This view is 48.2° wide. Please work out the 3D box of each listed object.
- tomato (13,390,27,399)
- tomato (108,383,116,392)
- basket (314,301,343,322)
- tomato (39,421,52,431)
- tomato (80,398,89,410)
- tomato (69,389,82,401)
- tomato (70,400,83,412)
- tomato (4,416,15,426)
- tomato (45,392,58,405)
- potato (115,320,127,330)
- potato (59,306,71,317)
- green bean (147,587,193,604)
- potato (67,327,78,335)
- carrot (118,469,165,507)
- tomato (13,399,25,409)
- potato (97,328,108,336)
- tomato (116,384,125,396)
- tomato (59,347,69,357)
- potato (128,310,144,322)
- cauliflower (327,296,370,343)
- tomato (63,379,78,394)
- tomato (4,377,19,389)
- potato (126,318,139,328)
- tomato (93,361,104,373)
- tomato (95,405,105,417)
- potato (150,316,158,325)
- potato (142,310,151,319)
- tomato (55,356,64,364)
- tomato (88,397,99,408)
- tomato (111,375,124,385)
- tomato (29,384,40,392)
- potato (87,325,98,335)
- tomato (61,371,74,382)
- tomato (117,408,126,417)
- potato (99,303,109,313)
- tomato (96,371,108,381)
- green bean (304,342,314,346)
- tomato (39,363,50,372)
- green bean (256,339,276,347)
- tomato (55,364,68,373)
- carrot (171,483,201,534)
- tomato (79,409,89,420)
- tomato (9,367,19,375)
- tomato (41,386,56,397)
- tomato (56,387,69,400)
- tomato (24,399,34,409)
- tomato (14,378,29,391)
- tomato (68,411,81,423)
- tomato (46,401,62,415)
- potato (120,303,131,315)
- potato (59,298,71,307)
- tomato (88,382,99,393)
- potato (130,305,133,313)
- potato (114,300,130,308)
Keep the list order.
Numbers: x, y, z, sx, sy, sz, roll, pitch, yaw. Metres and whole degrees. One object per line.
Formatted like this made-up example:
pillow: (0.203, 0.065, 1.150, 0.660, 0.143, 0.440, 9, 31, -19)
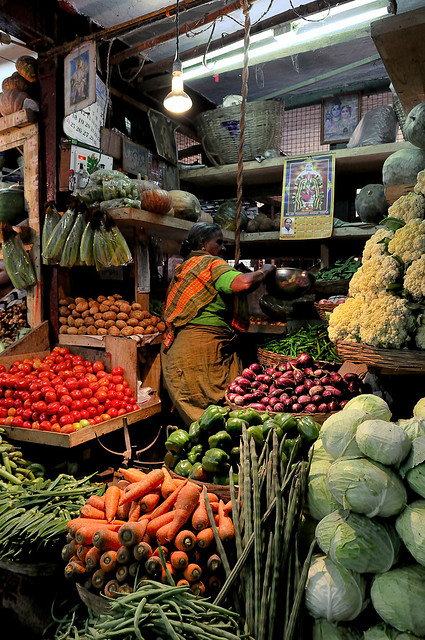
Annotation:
tomato: (-1.432, 0.548, 3.527, 0.069, 0.075, 0.065, 14, 2, 35)
tomato: (-0.790, 0.531, 3.754, 0.049, 0.044, 0.047, -4, -6, 3)
basket: (0.915, -0.089, 3.913, 0.230, 0.141, 0.232, 2, 2, 14)
tomato: (-1.136, 0.724, 3.249, 0.058, 0.057, 0.061, -1, -4, 1)
tomato: (-0.920, 0.616, 3.459, 0.064, 0.073, 0.062, -1, -2, -3)
tomato: (-1.000, 0.552, 3.499, 0.067, 0.078, 0.070, 8, -8, -31)
tomato: (-0.967, 0.612, 3.404, 0.068, 0.079, 0.067, 0, -12, 18)
tomato: (-1.440, 0.718, 3.376, 0.043, 0.043, 0.057, 3, -18, -9)
tomato: (-1.139, 0.552, 3.385, 0.075, 0.089, 0.074, 2, -41, -8)
potato: (-0.771, 0.038, 4.010, 0.082, 0.044, 0.071, 0, -1, -3)
potato: (-1.354, -0.076, 4.354, 0.094, 0.071, 0.054, 33, -35, 8)
green bean: (-0.109, 0.700, 1.205, 0.087, 0.013, 0.020, -15, 11, -27)
potato: (-1.227, 0.093, 4.222, 0.070, 0.038, 0.065, 3, 6, -37)
carrot: (-0.221, 0.547, 1.636, 0.062, 0.056, 0.217, 26, 38, 28)
tomato: (-1.413, 0.611, 3.479, 0.061, 0.061, 0.065, 15, -17, -36)
potato: (-0.932, 0.101, 4.029, 0.065, 0.038, 0.066, 10, -2, -38)
tomato: (-0.729, 0.543, 3.771, 0.062, 0.058, 0.058, -3, -5, 41)
tomato: (-1.298, 0.278, 4.164, 0.059, 0.056, 0.060, -4, -11, 39)
potato: (-0.635, -0.030, 4.072, 0.077, 0.056, 0.101, 6, 6, -28)
cauliflower: (0.560, 0.001, 1.971, 0.139, 0.160, 0.107, 3, 9, 42)
tomato: (-1.063, 0.494, 3.560, 0.084, 0.097, 0.082, 5, -6, -13)
tomato: (-1.517, 0.471, 3.587, 0.078, 0.047, 0.082, 8, 11, 15)
potato: (-0.677, 0.023, 4.029, 0.080, 0.060, 0.062, -1, 3, 40)
tomato: (-0.941, 0.389, 3.925, 0.081, 0.096, 0.081, -3, 17, 20)
tomato: (-0.830, 0.668, 3.519, 0.061, 0.072, 0.060, 7, -10, -40)
potato: (-0.508, 0.000, 4.158, 0.021, 0.056, 0.059, -12, -15, 26)
potato: (-0.571, -0.046, 4.159, 0.032, 0.057, 0.059, -24, -5, 37)
tomato: (-1.292, 0.335, 4.011, 0.059, 0.055, 0.057, 1, -9, -19)
tomato: (-0.875, 0.607, 3.511, 0.058, 0.067, 0.057, -4, -1, -2)
tomato: (-0.762, 0.477, 3.841, 0.072, 0.079, 0.067, 15, 11, -2)
tomato: (-1.301, 0.498, 3.480, 0.054, 0.032, 0.055, 0, 8, -20)
potato: (-1.027, 0.095, 4.081, 0.062, 0.080, 0.065, 1, 13, 2)
tomato: (-1.123, 0.432, 3.698, 0.069, 0.062, 0.068, -11, -15, 41)
tomato: (-0.692, 0.705, 3.632, 0.040, 0.046, 0.039, 1, -2, 20)
potato: (-0.945, -0.111, 4.126, 0.063, 0.064, 0.084, -3, -1, -37)
tomato: (-0.899, 0.455, 3.830, 0.056, 0.056, 0.059, -11, 6, -13)
green bean: (0.728, 0.180, 3.586, 0.064, 0.018, 0.028, 3, 7, 11)
tomato: (-1.349, 0.386, 3.830, 0.071, 0.065, 0.077, 6, -31, 11)
green bean: (0.444, 0.194, 3.909, 0.141, 0.058, 0.116, 3, 7, 15)
tomato: (-1.226, 0.387, 3.861, 0.086, 0.062, 0.073, -18, 25, -3)
carrot: (-0.079, 0.576, 1.464, 0.058, 0.060, 0.146, -24, 21, 41)
tomato: (-0.910, 0.677, 3.396, 0.057, 0.052, 0.057, 10, -11, -38)
tomato: (-1.576, 0.408, 3.783, 0.057, 0.052, 0.053, -2, -3, -9)
tomato: (-1.179, 0.517, 3.431, 0.062, 0.064, 0.084, -12, -15, 37)
tomato: (-1.081, 0.536, 3.435, 0.076, 0.069, 0.075, -3, -8, 17)
tomato: (-1.322, 0.603, 3.416, 0.063, 0.071, 0.063, 7, -17, 42)
tomato: (-1.427, 0.481, 3.562, 0.083, 0.046, 0.086, 2, 7, -31)
tomato: (-0.963, 0.685, 3.338, 0.066, 0.062, 0.066, -5, -5, 44)
tomato: (-1.114, 0.613, 3.316, 0.065, 0.065, 0.086, 14, -24, -14)
potato: (-0.749, -0.098, 4.151, 0.091, 0.105, 0.089, -4, -14, -30)
potato: (-1.360, -0.162, 4.401, 0.080, 0.041, 0.078, 0, 1, 3)
tomato: (-0.905, 0.514, 3.641, 0.068, 0.068, 0.077, 35, -35, 14)
potato: (-0.704, -0.093, 4.134, 0.051, 0.049, 0.023, 2, -17, -10)
potato: (-0.804, -0.140, 4.170, 0.069, 0.047, 0.090, 7, 20, 12)
